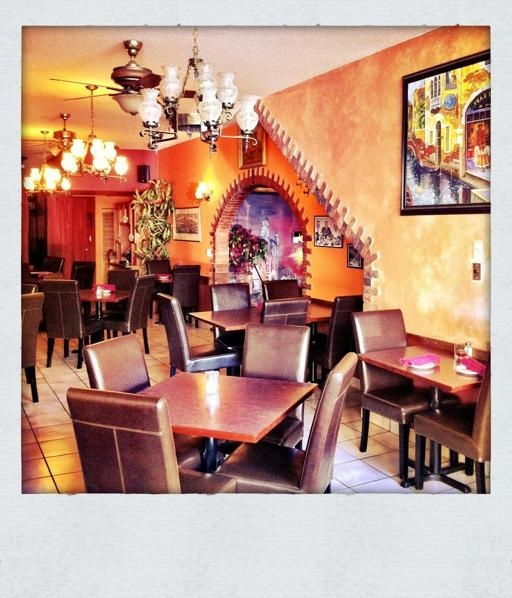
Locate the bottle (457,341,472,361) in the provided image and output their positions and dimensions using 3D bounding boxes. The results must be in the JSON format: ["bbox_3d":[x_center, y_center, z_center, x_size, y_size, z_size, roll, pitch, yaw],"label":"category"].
[{"bbox_3d":[1.182,0.299,3.011,0.086,0.108,0.032,2,-4,-15],"label":"bottle"}]

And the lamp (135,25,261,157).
[{"bbox_3d":[-0.373,-1.339,3.295,0.779,0.699,0.709,-6,16,-25],"label":"lamp"}]

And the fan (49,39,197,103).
[{"bbox_3d":[-1.060,-1.848,4.244,0.956,0.381,0.960,1,11,-4],"label":"fan"}]

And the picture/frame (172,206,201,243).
[{"bbox_3d":[-1.214,-1.295,9.286,0.025,0.586,1.294,-4,9,-27],"label":"picture/frame"}]

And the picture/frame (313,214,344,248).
[{"bbox_3d":[0.741,-0.685,5.332,0.014,0.289,0.385,-4,6,-22],"label":"picture/frame"}]

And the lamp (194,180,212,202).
[{"bbox_3d":[-0.830,-1.702,8.360,0.173,0.315,0.446,-2,8,-19],"label":"lamp"}]
